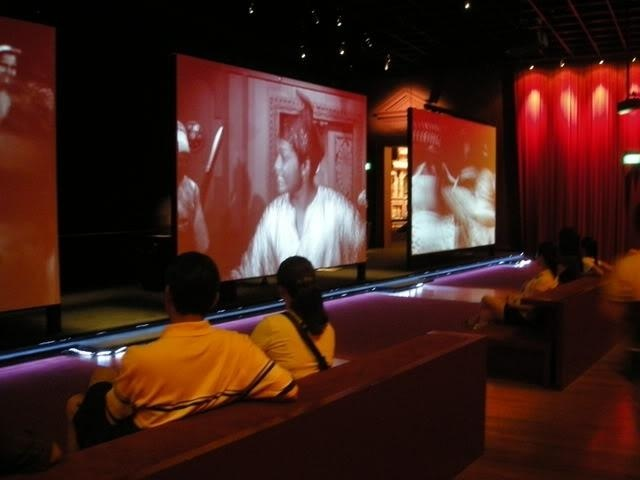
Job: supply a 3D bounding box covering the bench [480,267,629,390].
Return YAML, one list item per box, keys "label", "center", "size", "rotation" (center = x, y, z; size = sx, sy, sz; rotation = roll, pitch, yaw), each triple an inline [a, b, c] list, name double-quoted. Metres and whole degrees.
- label: "bench"
  center: [2.134, 0.825, 4.470]
  size: [1.324, 0.820, 0.669]
  rotation: [-1, 9, -40]

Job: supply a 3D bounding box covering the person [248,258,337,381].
- label: "person"
  center: [-0.120, 0.506, 2.406]
  size: [0.352, 0.787, 0.368]
  rotation: [4, 7, 1]
